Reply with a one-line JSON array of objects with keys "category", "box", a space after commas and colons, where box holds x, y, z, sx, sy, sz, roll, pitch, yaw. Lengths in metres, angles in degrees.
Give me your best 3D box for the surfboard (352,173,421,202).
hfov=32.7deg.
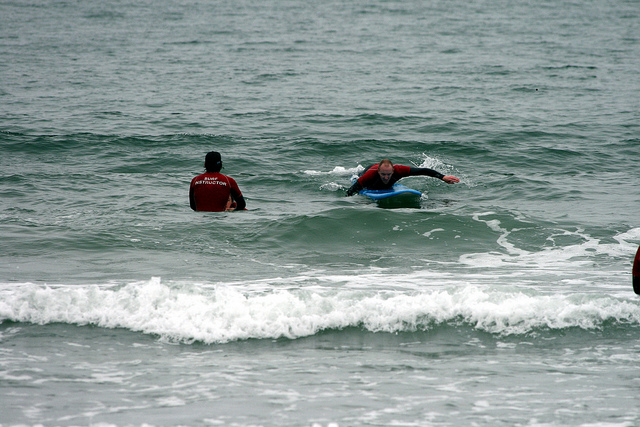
[{"category": "surfboard", "box": [2.351, -0.890, 37.401, 1.707, 0.300, 2.826, -3, 5, -26]}]
